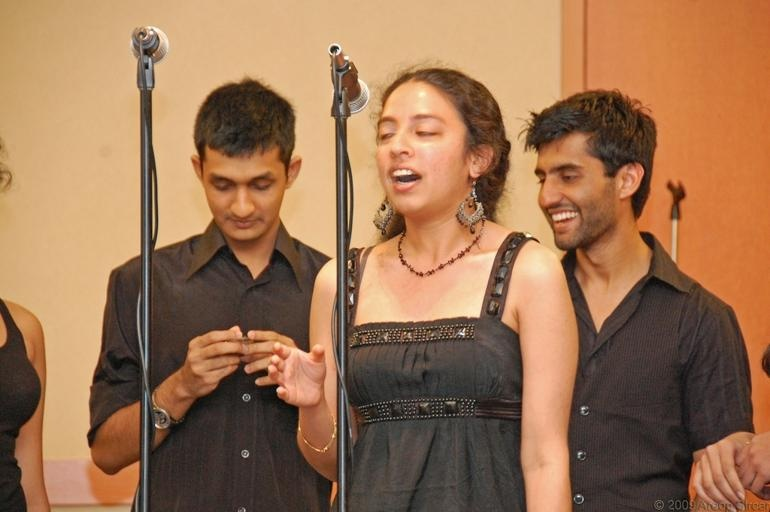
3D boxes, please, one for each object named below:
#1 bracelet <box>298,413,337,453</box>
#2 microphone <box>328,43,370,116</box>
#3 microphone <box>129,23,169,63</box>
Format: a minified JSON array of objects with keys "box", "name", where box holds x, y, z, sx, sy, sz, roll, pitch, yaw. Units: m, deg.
[{"box":[-0.259,0.701,3.808,0.153,0.195,0.041,-1,2,10],"name":"bracelet"},{"box":[-0.123,-0.633,3.471,0.116,0.272,0.259,-4,-8,18],"name":"microphone"},{"box":[-0.871,-0.777,3.556,0.112,0.148,0.133,-3,6,-5],"name":"microphone"}]
